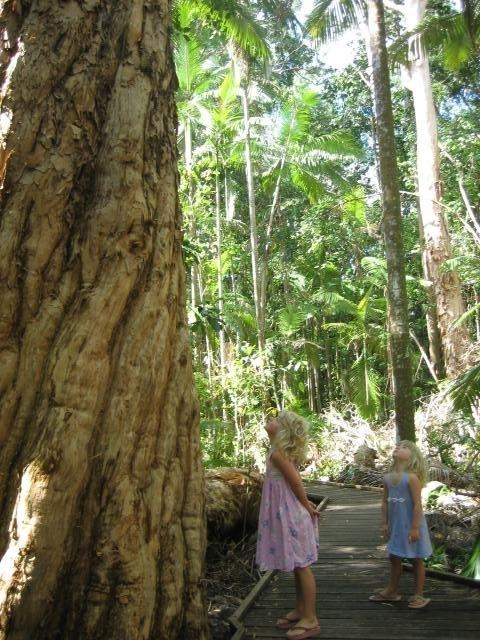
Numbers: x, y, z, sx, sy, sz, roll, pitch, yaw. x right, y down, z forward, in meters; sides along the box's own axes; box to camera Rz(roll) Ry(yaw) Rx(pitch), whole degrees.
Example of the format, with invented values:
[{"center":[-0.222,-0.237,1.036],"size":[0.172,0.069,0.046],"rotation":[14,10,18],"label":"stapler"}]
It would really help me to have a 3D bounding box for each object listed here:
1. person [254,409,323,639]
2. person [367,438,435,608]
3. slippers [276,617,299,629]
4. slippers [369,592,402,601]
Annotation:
[{"center":[0.275,1.115,2.773],"size":[0.376,1.183,0.363],"rotation":[-2,-9,-5],"label":"person"},{"center":[1.022,1.258,3.097],"size":[0.301,0.959,0.373],"rotation":[3,-12,-35],"label":"person"},{"center":[0.263,1.686,2.771],"size":[0.112,0.035,0.046],"rotation":[11,-19,-22],"label":"slippers"},{"center":[0.918,1.741,3.118],"size":[0.187,0.068,0.082],"rotation":[0,-21,9],"label":"slippers"}]
